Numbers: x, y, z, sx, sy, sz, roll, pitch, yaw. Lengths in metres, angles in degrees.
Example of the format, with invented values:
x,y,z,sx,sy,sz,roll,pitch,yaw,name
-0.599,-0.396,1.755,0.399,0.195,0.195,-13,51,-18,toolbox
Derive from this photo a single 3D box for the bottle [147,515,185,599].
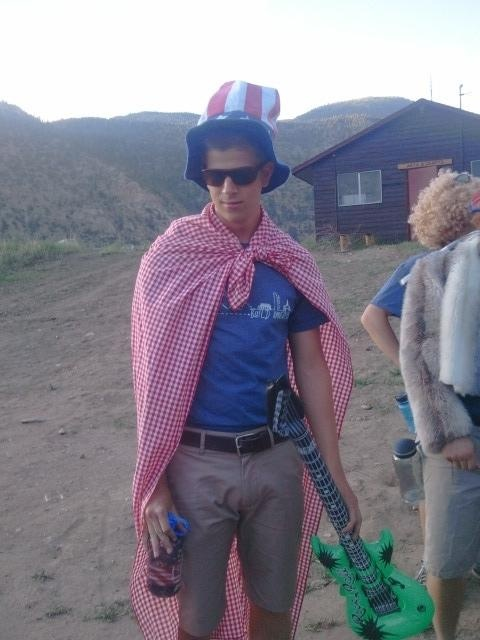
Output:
x,y,z,sx,sy,sz,roll,pitch,yaw,name
-0.208,0.680,1.814,0.082,0.212,0.135,3,13,39,bottle
